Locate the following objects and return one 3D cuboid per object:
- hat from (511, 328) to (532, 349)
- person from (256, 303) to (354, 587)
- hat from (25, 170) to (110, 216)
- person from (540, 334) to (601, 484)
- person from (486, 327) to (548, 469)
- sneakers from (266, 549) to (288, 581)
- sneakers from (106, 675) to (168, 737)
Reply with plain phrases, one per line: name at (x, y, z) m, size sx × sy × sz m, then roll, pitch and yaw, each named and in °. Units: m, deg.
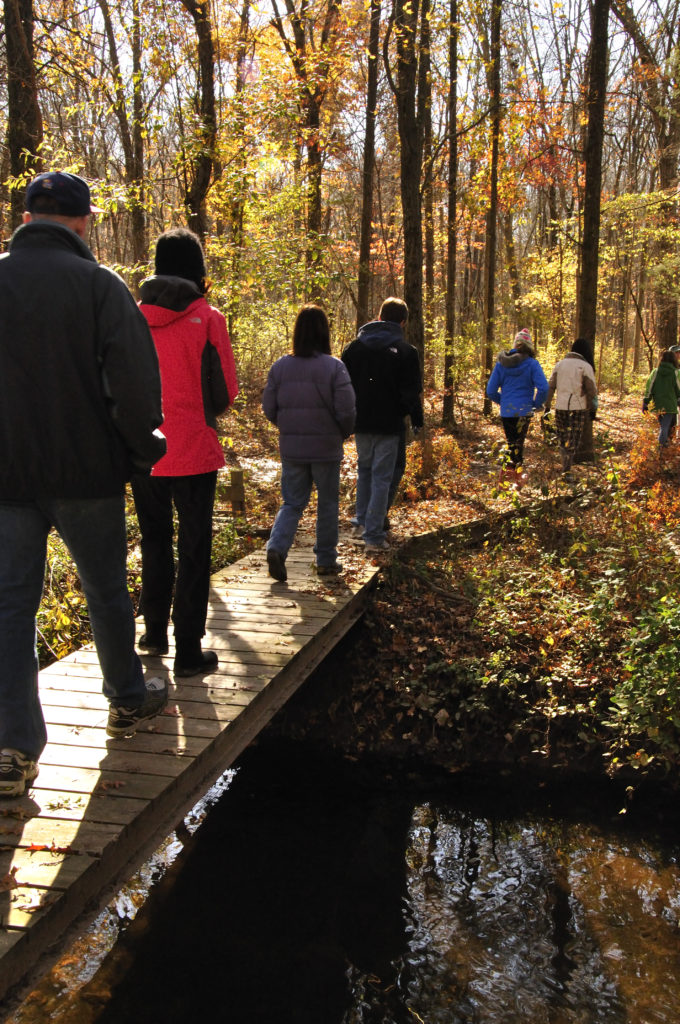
hat at (2.104, -2.034, 9.918) m, size 0.139 × 0.181 × 0.422 m, roll 1°, pitch 23°, yaw 8°
person at (-0.225, -0.418, 5.738) m, size 0.587 × 1.854 × 0.437 m, roll 1°, pitch 11°, yaw -5°
hat at (-0.959, -1.084, 2.944) m, size 0.142 × 0.115 × 0.224 m, roll 9°, pitch 29°, yaw 5°
person at (2.975, -1.390, 11.090) m, size 0.602 × 1.693 × 0.951 m, roll 5°, pitch 11°, yaw 15°
person at (1.995, -1.265, 9.748) m, size 0.664 × 1.577 × 0.883 m, roll 3°, pitch 11°, yaw 8°
sneakers at (-0.427, 0.363, 5.791) m, size 0.086 × 0.258 × 0.102 m, roll -7°, pitch 50°, yaw 8°
sneakers at (-0.819, 0.801, 3.578) m, size 0.120 × 0.159 × 0.345 m, roll 6°, pitch 24°, yaw 15°
